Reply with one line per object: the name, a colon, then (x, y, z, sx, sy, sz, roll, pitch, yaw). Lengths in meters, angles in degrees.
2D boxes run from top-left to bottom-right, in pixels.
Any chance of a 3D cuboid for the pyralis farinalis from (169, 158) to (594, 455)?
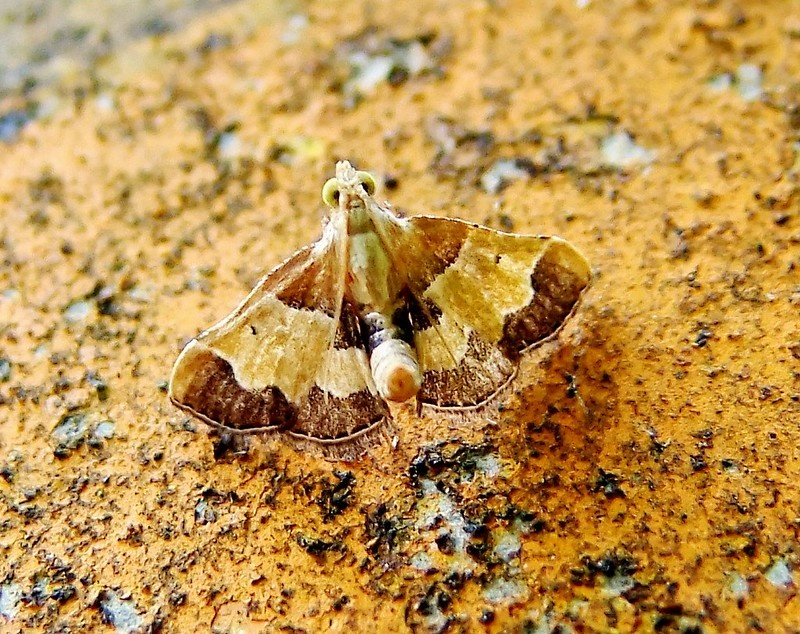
pyralis farinalis: (-0.050, 0.064, 3.242, 1.174, 0.336, 0.810, 14, 79, 7)
